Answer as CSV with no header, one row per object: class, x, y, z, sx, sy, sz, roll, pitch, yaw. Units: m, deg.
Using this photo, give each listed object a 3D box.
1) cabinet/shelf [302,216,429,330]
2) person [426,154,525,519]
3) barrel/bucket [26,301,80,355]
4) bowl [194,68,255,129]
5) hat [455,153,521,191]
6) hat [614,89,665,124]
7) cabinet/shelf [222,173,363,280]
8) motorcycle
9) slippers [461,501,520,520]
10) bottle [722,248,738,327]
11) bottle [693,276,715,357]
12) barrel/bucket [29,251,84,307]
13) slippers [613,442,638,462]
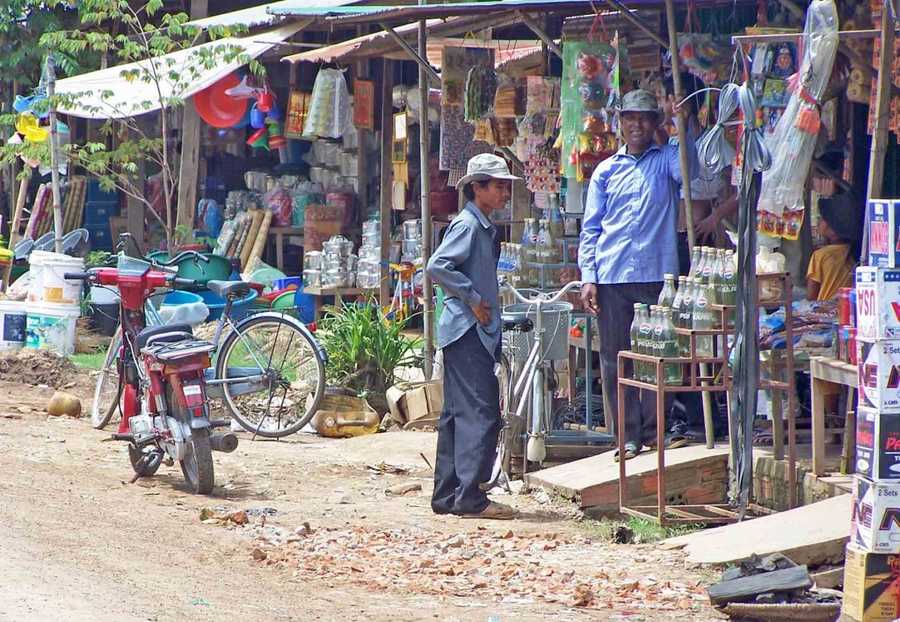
cabinet/shelf,-1.040,-0.439,20.912,1.389,1.151,1.070,-1,1,7
person,0.172,0.209,14.324,0.699,2.403,0.478,3,-1,2
barrel/bucket,-4.434,0.193,19.458,0.541,0.579,0.557,2,1,0
bowl,-2.718,-2.515,20.622,0.640,0.598,0.398,3,-1,-15
hat,0.371,-1.138,14.383,0.326,0.187,0.383,-3,-4,45
hat,1.607,-1.725,14.918,0.389,0.243,0.500,1,-1,6
cabinet/shelf,-1.795,-0.782,22.419,1.149,1.421,1.736,0,1,-36
motorcycle,-2.489,0.536,15.038,0.758,1.797,1.537,3,-1,-33
slippers,0.340,1.658,14.428,0.458,0.182,0.176,-2,0,-6
bottle,2.218,-0.173,13.805,0.114,0.442,0.328,2,-1,9
bottle,2.032,0.072,13.920,0.170,0.427,0.297,2,-1,13
barrel/bucket,-4.344,-0.353,19.013,0.735,0.749,0.764,2,-1,0
slippers,1.475,1.178,14.606,0.100,0.108,0.245,-5,-9,27
